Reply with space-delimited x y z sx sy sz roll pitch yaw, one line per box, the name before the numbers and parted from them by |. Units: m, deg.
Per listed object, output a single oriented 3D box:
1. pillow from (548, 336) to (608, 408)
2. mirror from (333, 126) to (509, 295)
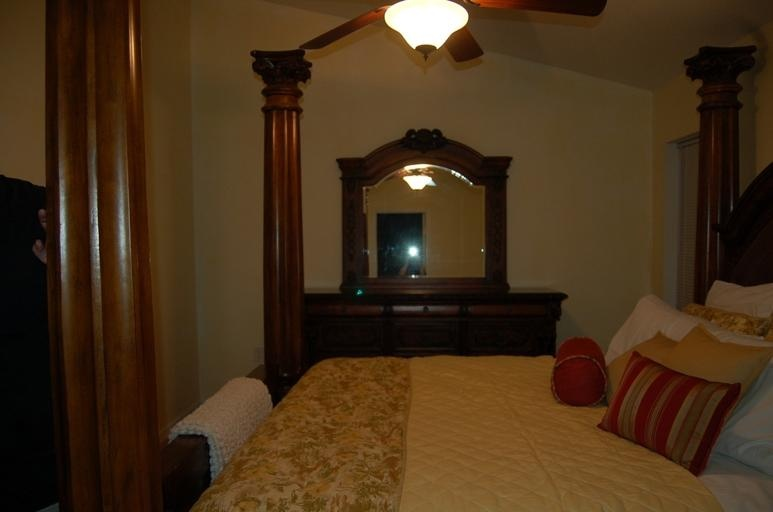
pillow | 0.973 0.568 2.982 0.263 0.306 0.361 -9 -2 17
mirror | 0.309 -0.410 4.869 1.339 1.302 0.222 0 0 0
